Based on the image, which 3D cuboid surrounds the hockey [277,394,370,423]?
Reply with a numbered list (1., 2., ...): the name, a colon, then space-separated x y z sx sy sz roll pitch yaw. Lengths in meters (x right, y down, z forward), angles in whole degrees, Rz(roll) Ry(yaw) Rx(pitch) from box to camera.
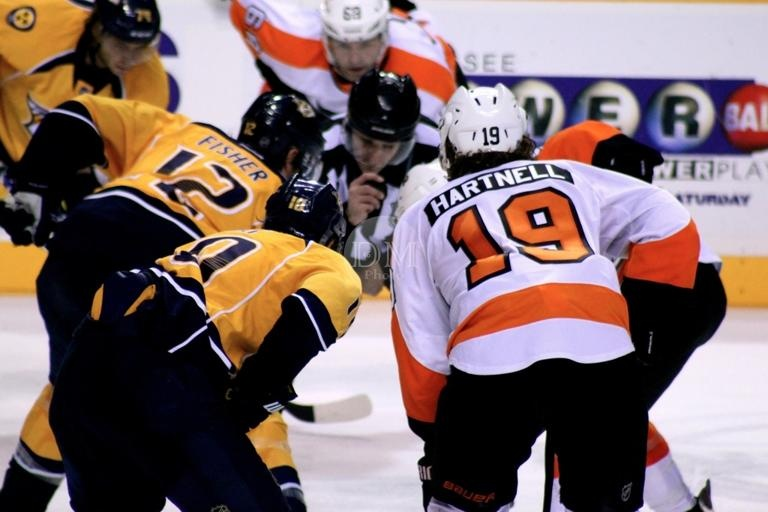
1. hockey: -0.415 1.001 8.078 0.644 0.188 0.112 2 -10 -21
